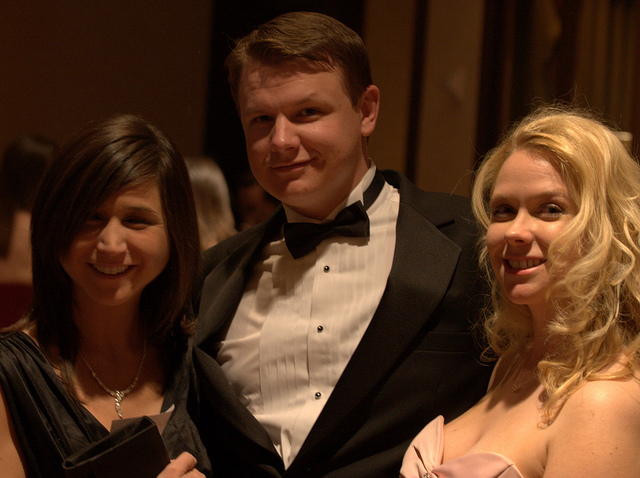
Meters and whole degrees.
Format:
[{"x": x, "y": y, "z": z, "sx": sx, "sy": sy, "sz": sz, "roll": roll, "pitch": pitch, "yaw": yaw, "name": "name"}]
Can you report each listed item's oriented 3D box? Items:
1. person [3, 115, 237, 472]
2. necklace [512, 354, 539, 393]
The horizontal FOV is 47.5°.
[{"x": -0.872, "y": 0.253, "z": 2.990, "sx": 0.885, "sy": 1.486, "sz": 0.428, "roll": -5, "pitch": 2, "yaw": -26, "name": "person"}, {"x": 0.779, "y": 0.526, "z": 2.743, "sx": 0.098, "sy": 0.017, "sz": 0.047, "roll": -51, "pitch": 13, "yaw": 1, "name": "necklace"}]
